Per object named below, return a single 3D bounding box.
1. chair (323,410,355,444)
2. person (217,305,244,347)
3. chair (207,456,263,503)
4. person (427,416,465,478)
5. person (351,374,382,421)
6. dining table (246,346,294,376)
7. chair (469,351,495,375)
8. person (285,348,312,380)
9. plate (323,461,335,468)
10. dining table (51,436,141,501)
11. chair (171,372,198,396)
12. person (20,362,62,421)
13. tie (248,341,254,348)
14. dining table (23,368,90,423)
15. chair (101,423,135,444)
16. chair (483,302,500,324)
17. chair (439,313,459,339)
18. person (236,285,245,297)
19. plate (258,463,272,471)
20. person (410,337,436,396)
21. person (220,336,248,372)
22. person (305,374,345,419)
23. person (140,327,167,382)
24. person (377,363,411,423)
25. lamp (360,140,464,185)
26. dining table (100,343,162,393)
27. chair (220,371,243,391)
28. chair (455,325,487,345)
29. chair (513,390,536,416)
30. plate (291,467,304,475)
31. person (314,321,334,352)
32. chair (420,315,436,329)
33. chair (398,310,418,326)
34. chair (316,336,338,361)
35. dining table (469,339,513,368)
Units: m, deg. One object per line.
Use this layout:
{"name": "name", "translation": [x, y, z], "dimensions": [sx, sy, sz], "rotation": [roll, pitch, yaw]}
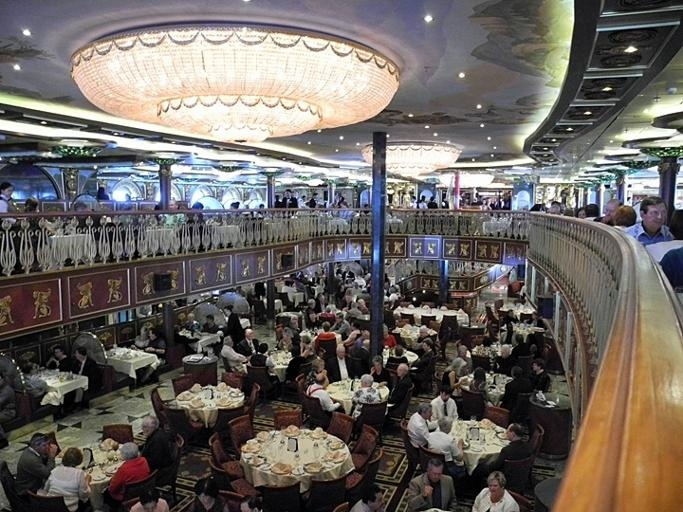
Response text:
{"name": "chair", "translation": [0.024, 2.938, 8.302], "dimensions": [0.427, 0.678, 0.512], "rotation": [4, 0, 26]}
{"name": "person", "translation": [-3.412, 2.226, 14.285], "dimensions": [0.588, 1.464, 0.544], "rotation": [-2, 16, -11]}
{"name": "chair", "translation": [-1.512, 3.185, 6.731], "dimensions": [0.428, 0.587, 0.397], "rotation": [-19, 32, -28]}
{"name": "person", "translation": [1.664, 3.084, 7.650], "dimensions": [0.597, 0.871, 0.678], "rotation": [5, -4, -41]}
{"name": "person", "translation": [0.484, 2.725, 9.403], "dimensions": [0.643, 0.790, 0.473], "rotation": [-12, 26, -40]}
{"name": "dining table", "translation": [-1.703, 2.543, 11.407], "dimensions": [0.824, 0.234, 0.884], "rotation": [8, 11, 37]}
{"name": "chair", "translation": [3.641, 2.662, 12.088], "dimensions": [0.556, 0.517, 0.526], "rotation": [-2, 4, -43]}
{"name": "person", "translation": [-0.969, 2.616, 11.456], "dimensions": [0.611, 0.760, 0.608], "rotation": [4, 4, 21]}
{"name": "plate", "translation": [-0.195, 3.032, 6.934], "dimensions": [0.141, 0.058, 0.141], "rotation": [-9, 2, -10]}
{"name": "dining table", "translation": [-3.411, 3.071, 6.610], "dimensions": [1.036, 0.295, 0.955], "rotation": [-1, 3, -43]}
{"name": "chair", "translation": [-3.426, 2.642, 9.961], "dimensions": [0.411, 0.559, 0.466], "rotation": [-2, -1, -38]}
{"name": "person", "translation": [-6.512, 2.964, 10.260], "dimensions": [0.580, 1.400, 1.171], "rotation": [-12, 4, -35]}
{"name": "tie", "translation": [-2.362, 2.287, 12.245], "dimensions": [0.037, 0.149, 0.116], "rotation": [-15, -5, 36]}
{"name": "dining table", "translation": [-6.248, 2.975, 10.219], "dimensions": [1.297, 0.335, 0.833], "rotation": [0, 2, 31]}
{"name": "chair", "translation": [-3.729, 2.911, 7.915], "dimensions": [0.345, 0.464, 0.403], "rotation": [1, -9, -17]}
{"name": "chair", "translation": [5.894, 2.254, 18.596], "dimensions": [0.569, 0.734, 0.637], "rotation": [-1, 7, 5]}
{"name": "chair", "translation": [3.708, 2.445, 16.184], "dimensions": [0.761, 0.938, 0.849], "rotation": [1, 4, -3]}
{"name": "person", "translation": [-4.488, 1.545, 20.875], "dimensions": [0.389, 0.420, 1.024], "rotation": [-10, 3, -14]}
{"name": "plate", "translation": [-1.134, 3.039, 6.870], "dimensions": [0.193, 0.045, 0.244], "rotation": [-9, 2, -16]}
{"name": "person", "translation": [2.080, 2.774, 12.234], "dimensions": [0.805, 1.226, 0.832], "rotation": [2, 12, -6]}
{"name": "person", "translation": [-2.672, 2.418, 11.606], "dimensions": [0.725, 0.854, 0.526], "rotation": [-9, 3, 7]}
{"name": "person", "translation": [-0.372, 2.802, 9.490], "dimensions": [0.685, 0.777, 0.814], "rotation": [-9, 3, 6]}
{"name": "person", "translation": [-5.305, 2.714, 13.135], "dimensions": [0.714, 1.450, 0.831], "rotation": [1, 3, 27]}
{"name": "person", "translation": [1.178, 3.086, 10.010], "dimensions": [0.610, 1.655, 0.598], "rotation": [7, 9, 17]}
{"name": "lamp", "translation": [2.097, -3.133, 15.043], "dimensions": [1.794, 0.626, 1.753], "rotation": [-2, 3, -41]}
{"name": "dining table", "translation": [-5.363, 2.843, 12.034], "dimensions": [1.296, 0.328, 0.790], "rotation": [15, 13, 30]}
{"name": "chair", "translation": [-2.356, 2.658, 10.098], "dimensions": [0.363, 0.485, 0.413], "rotation": [1, -4, 3]}
{"name": "chair", "translation": [4.136, 2.512, 14.810], "dimensions": [0.598, 0.536, 0.586], "rotation": [1, 7, 9]}
{"name": "chair", "translation": [3.649, 2.988, 9.538], "dimensions": [0.392, 0.361, 0.185], "rotation": [-8, 3, 18]}
{"name": "plate", "translation": [-0.636, 3.061, 6.782], "dimensions": [0.164, 0.047, 0.205], "rotation": [-9, 2, -7]}
{"name": "person", "translation": [-0.486, 2.268, 13.230], "dimensions": [0.669, 0.764, 0.432], "rotation": [5, 20, 8]}
{"name": "chair", "translation": [2.982, 2.223, 16.222], "dimensions": [0.385, 0.387, 0.375], "rotation": [1, 1, 2]}
{"name": "chair", "translation": [2.154, 2.173, 16.438], "dimensions": [0.816, 0.508, 0.476], "rotation": [-1, -3, -40]}
{"name": "chair", "translation": [-0.416, 2.494, 12.772], "dimensions": [0.585, 0.728, 0.618], "rotation": [0, 9, -8]}
{"name": "dining table", "translation": [3.887, 2.546, 11.974], "dimensions": [0.949, 0.536, 0.924], "rotation": [-2, 3, -37]}
